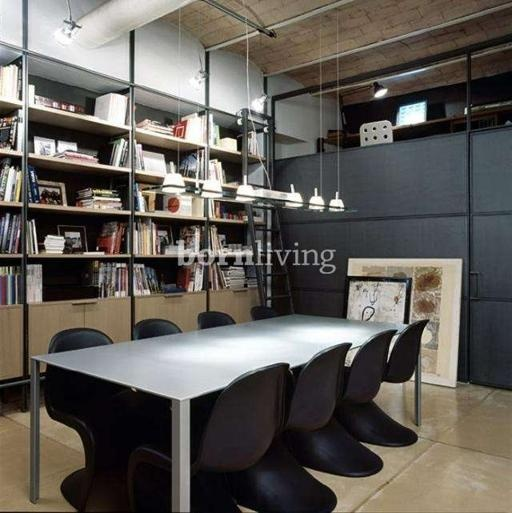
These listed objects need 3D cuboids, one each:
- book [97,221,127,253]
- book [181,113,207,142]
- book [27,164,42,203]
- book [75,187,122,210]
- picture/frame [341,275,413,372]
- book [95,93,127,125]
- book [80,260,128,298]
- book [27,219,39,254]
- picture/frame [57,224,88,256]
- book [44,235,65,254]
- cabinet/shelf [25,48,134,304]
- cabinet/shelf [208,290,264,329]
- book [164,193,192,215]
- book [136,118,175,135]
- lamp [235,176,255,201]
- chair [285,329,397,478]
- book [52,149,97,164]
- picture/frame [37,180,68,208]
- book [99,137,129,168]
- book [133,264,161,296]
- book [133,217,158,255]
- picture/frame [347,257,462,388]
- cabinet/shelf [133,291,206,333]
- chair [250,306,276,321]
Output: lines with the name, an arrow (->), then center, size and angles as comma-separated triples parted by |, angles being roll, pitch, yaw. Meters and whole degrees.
book -> -1.423, -0.192, 4.240 | 0.256, 0.346, 0.117 | -7, -14, 44
book -> -0.698, -1.446, 4.839 | 0.370, 0.392, 0.217 | 9, 11, 42
book -> -1.872, -0.596, 3.627 | 0.052, 0.235, 0.230 | 1, 2, -8
book -> -1.513, -0.541, 4.103 | 0.416, 0.194, 0.277 | 0, -1, -15
picture/frame -> 1.318, 0.557, 4.755 | 0.676, 0.056, 0.888 | 3, 33, 17
book -> -1.394, -1.421, 4.148 | 0.349, 0.357, 0.190 | 9, 8, 39
book -> -1.429, 0.212, 4.119 | 0.405, 0.342, 0.172 | 0, -1, -23
book -> -1.867, -0.162, 3.580 | 0.052, 0.231, 0.217 | 0, -4, -16
picture/frame -> -1.733, -0.153, 4.015 | 0.022, 0.299, 0.290 | -7, -8, 33
book -> -1.740, -0.116, 3.709 | 0.129, 0.088, 0.172 | 4, -3, -42
cabinet/shelf -> -1.710, -0.766, 3.974 | 0.490, 1.988, 1.075 | -1, -2, 42
cabinet/shelf -> -0.236, 0.557, 4.566 | 0.129, 0.398, 0.405 | -1, -3, 38
book -> -0.876, -0.583, 4.844 | 0.333, 0.216, 0.145 | 0, -1, -11
book -> -1.053, -1.348, 4.509 | 0.415, 0.131, 0.152 | 1, -1, -37
lamp -> -0.105, -0.487, 3.064 | 0.159, 0.177, 0.165 | 2, 5, 15
chair -> 0.464, 0.793, 2.693 | 0.494, 0.760, 0.672 | -16, 5, -38
book -> -1.599, -0.893, 3.846 | 0.360, 0.119, 0.183 | 0, -1, -30
picture/frame -> -1.845, -0.564, 3.865 | 0.020, 0.271, 0.274 | -14, -17, 30
book -> -1.363, -1.023, 4.265 | 0.272, 0.371, 0.109 | -8, -26, 35
book -> -1.138, 0.246, 4.444 | 0.047, 0.229, 0.312 | -10, -5, 22
book -> -1.143, -0.180, 4.436 | 0.288, 0.399, 0.399 | 0, -1, 15
picture/frame -> 1.432, 0.595, 3.916 | 1.187, 1.179, 0.088 | -4, -7, 27
cabinet/shelf -> -0.847, 0.644, 4.666 | 0.727, 0.435, 0.231 | -6, -9, 12
chair -> 0.062, 0.546, 4.159 | 0.149, 0.180, 0.154 | 2, -6, -35
